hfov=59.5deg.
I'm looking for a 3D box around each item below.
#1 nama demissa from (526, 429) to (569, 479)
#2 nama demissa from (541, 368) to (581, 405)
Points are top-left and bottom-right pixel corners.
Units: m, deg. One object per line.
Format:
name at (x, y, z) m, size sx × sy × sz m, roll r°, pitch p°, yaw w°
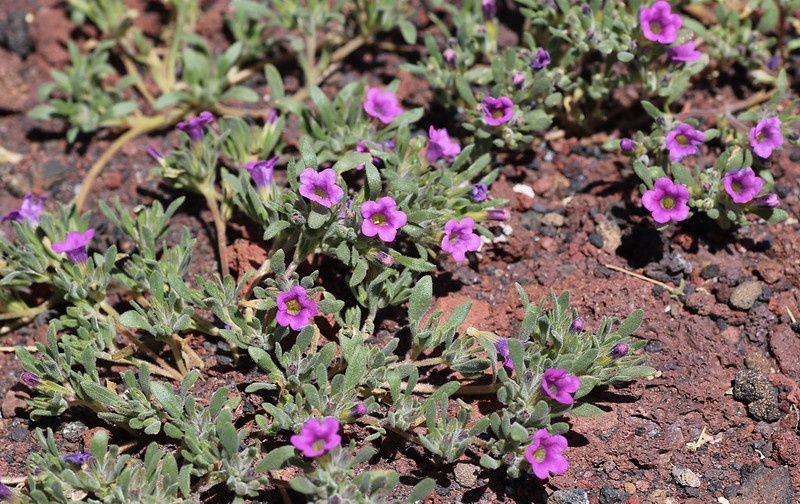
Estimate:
nama demissa at (0.969, 1.433, 4.927) m, size 0.327 × 0.345 × 0.151 m, roll -39°, pitch 82°, yaw 2°
nama demissa at (1.156, 0.956, 4.993) m, size 0.252 × 0.268 × 0.128 m, roll 17°, pitch 8°, yaw 11°
